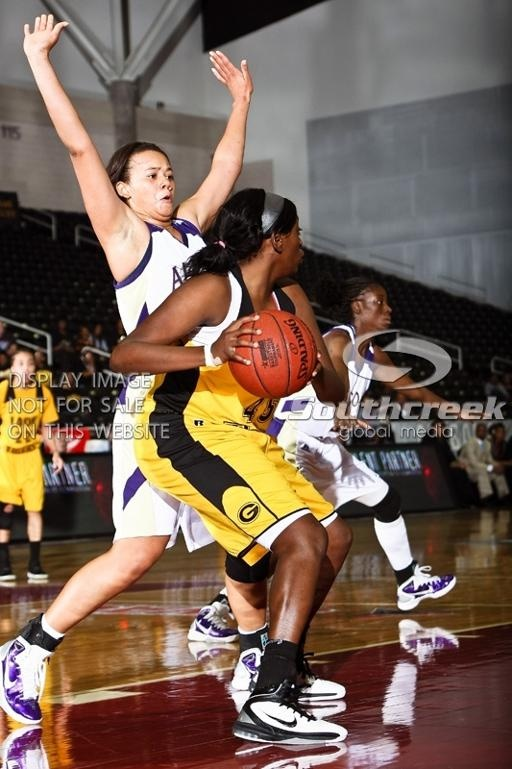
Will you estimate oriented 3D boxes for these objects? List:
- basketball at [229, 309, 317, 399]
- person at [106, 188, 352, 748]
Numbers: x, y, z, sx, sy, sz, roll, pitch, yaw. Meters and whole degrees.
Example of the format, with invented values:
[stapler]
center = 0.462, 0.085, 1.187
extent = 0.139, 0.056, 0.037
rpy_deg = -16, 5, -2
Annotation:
[basketball]
center = 0.048, -0.075, 1.531
extent = 0.208, 0.229, 0.199
rpy_deg = 0, 8, 1
[person]
center = -0.048, 0.180, 1.698
extent = 0.548, 1.348, 0.654
rpy_deg = -2, 0, 8
